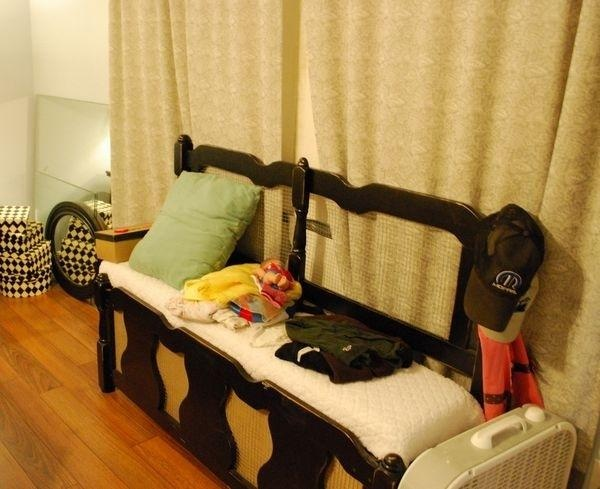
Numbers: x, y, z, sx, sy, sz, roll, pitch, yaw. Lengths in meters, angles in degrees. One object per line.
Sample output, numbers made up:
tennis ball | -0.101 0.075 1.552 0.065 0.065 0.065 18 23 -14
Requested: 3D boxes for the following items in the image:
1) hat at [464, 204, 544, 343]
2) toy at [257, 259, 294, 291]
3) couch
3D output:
hat | 0.553 0.058 1.275 0.178 0.303 0.181 15 23 33
toy | -0.095 0.114 1.724 0.121 0.053 0.093 -2 45 -47
couch | -0.019 0.242 1.610 0.377 0.879 1.048 -14 27 -40
